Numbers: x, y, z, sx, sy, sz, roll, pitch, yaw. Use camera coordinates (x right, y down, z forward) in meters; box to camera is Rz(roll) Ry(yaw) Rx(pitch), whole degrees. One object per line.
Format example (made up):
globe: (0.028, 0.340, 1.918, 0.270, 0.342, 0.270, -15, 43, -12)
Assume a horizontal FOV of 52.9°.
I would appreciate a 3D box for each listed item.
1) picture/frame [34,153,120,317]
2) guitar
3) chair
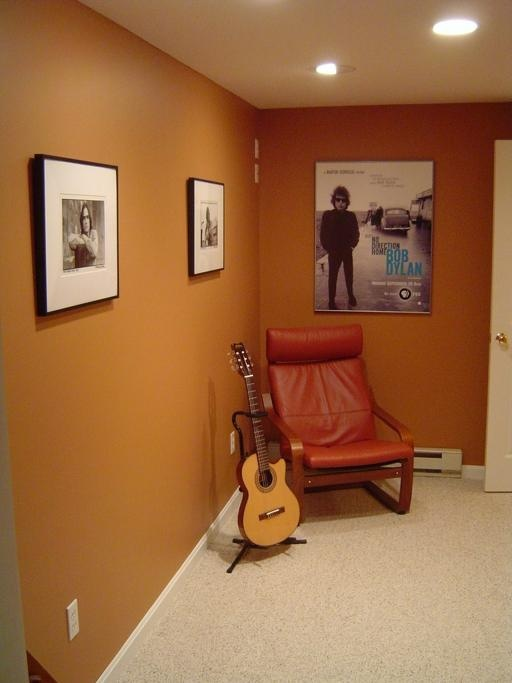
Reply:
picture/frame: (-0.502, -0.291, 1.380, 0.036, 0.464, 0.422, 4, 8, 18)
guitar: (0.048, 0.574, 2.735, 0.362, 1.116, 0.417, -1, 4, -4)
chair: (0.487, 0.423, 3.501, 0.787, 1.488, 1.181, -2, 5, -6)
